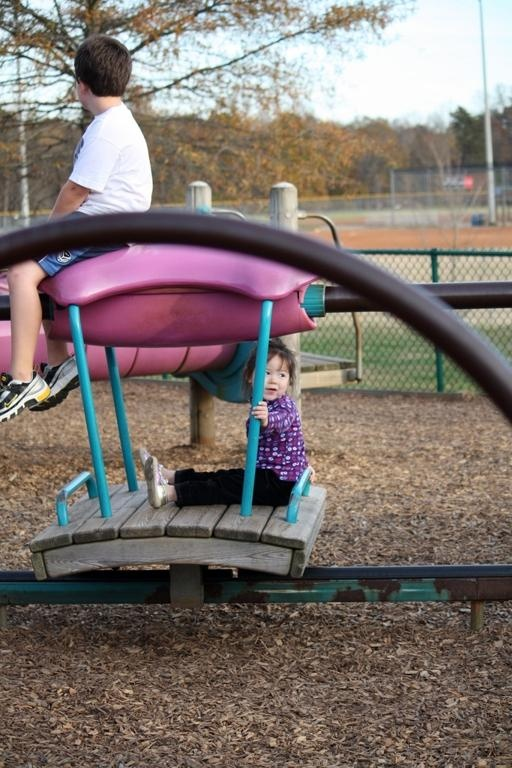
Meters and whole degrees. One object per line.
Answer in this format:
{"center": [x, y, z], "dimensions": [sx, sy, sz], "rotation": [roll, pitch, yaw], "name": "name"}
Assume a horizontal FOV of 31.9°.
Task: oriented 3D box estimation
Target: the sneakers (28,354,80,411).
{"center": [-0.621, -0.023, 2.860], "dimensions": [0.097, 0.125, 0.274], "rotation": [-8, 7, 11], "name": "sneakers"}

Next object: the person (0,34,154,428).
{"center": [-0.550, -0.498, 2.690], "dimensions": [0.463, 1.262, 1.036], "rotation": [-2, 9, -6], "name": "person"}
